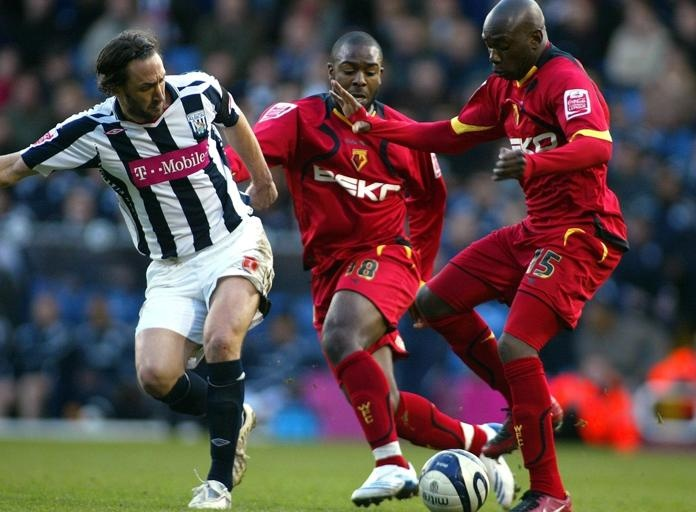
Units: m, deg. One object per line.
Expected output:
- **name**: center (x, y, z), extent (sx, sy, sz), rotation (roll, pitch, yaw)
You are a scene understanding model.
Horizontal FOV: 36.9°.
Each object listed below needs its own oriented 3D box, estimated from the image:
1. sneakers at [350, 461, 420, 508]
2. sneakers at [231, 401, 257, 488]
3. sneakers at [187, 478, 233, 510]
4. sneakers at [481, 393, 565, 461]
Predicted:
- **sneakers**: center (0.274, 1.616, 7.491), extent (0.523, 0.237, 0.235), rotation (-3, -23, -41)
- **sneakers**: center (-0.780, 1.400, 7.759), extent (0.195, 0.601, 0.277), rotation (1, 3, -2)
- **sneakers**: center (-0.957, 1.668, 7.225), extent (0.290, 0.189, 0.237), rotation (0, 3, -8)
- **sneakers**: center (1.260, 1.322, 8.048), extent (0.571, 0.252, 0.183), rotation (-31, 12, 4)
